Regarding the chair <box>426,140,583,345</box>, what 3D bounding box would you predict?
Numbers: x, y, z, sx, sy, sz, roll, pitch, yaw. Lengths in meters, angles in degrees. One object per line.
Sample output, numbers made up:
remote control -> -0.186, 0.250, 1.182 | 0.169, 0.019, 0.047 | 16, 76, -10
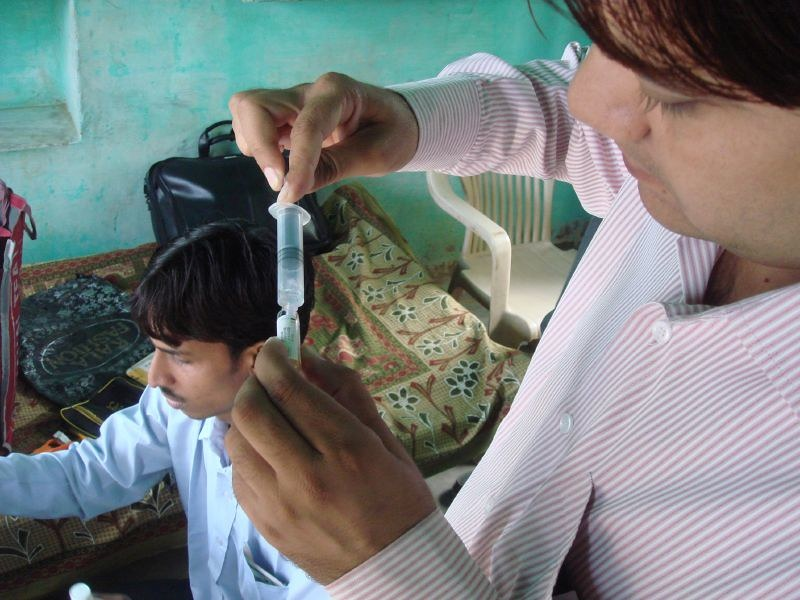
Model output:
chair -> 0.397, -0.209, 2.765 | 0.524, 0.673, 0.524 | -28, 55, -21

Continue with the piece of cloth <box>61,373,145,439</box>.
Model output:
piece of cloth -> -0.970, 0.369, 2.300 | 0.165, 0.071, 0.248 | 19, 35, 31

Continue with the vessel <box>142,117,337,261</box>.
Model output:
vessel -> -0.723, -0.453, 3.079 | 0.795, 0.617, 0.332 | -15, 14, -26
